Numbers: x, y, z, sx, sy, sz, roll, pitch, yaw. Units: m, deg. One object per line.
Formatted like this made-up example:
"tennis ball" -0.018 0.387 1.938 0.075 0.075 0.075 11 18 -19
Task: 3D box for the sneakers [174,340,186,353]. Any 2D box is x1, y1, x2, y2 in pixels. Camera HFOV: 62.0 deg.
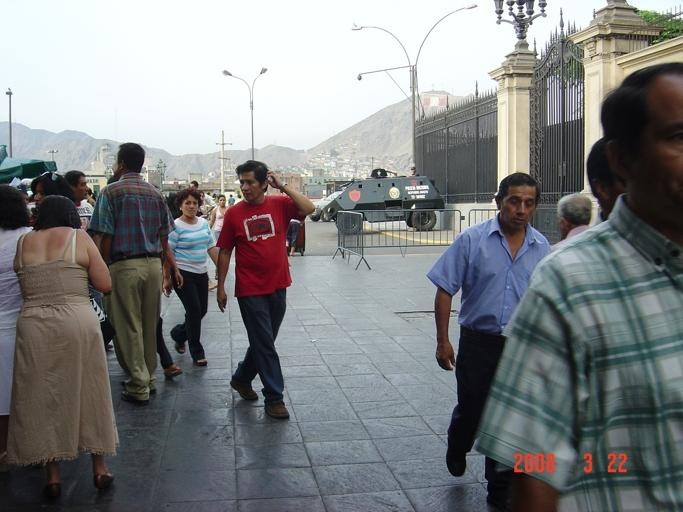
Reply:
"sneakers" -2.075 1.181 7.355 0.073 0.217 0.077 -2 1 39

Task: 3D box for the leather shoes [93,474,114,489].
"leather shoes" -1.637 1.554 3.923 0.124 0.090 0.105 -3 6 -27

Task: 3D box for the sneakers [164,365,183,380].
"sneakers" -1.861 1.299 6.345 0.089 0.101 0.226 -3 -6 -41

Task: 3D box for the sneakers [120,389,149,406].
"sneakers" -2.030 1.390 5.585 0.288 0.131 0.113 9 5 38

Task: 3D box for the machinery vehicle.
"machinery vehicle" 2.488 -2.850 28.595 4.859 2.774 3.266 -3 5 -9

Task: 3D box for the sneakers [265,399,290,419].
"sneakers" -0.587 1.393 5.162 0.106 0.148 0.288 1 -2 -33
